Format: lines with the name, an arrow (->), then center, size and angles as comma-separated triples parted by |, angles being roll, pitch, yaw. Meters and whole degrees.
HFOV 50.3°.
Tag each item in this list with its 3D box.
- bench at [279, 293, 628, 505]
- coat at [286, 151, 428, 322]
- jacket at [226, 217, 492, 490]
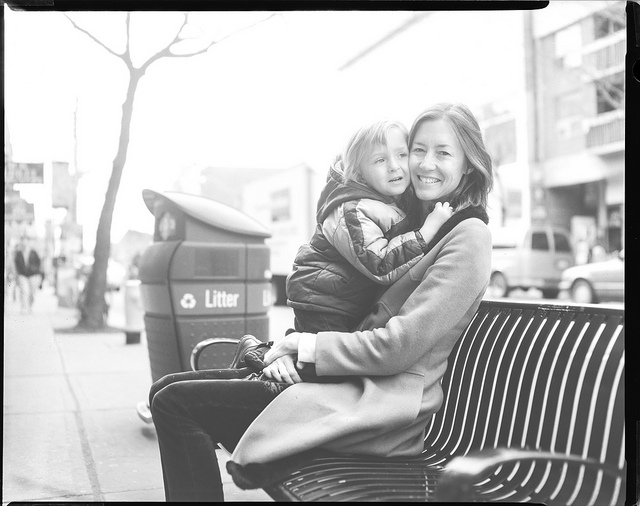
bench -> 0.520, 0.596, 2.830 | 0.848, 1.154, 1.141 | 17, -8, -28
coat -> 0.153, -0.007, 3.050 | 0.531, 0.812, 0.621 | 7, 9, 8
jacket -> 0.182, 0.412, 2.822 | 1.007, 1.149, 0.253 | 2, -2, 12
